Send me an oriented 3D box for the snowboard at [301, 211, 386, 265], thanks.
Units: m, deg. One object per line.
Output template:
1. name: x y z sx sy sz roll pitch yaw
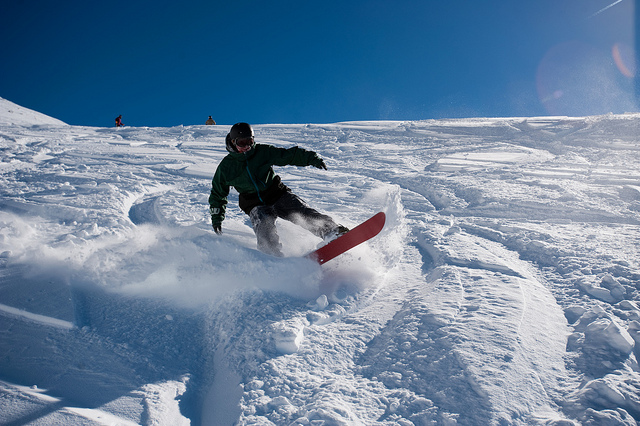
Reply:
1. snowboard: 0.375 0.475 8.425 1.588 0.301 0.218 -27 2 -10
